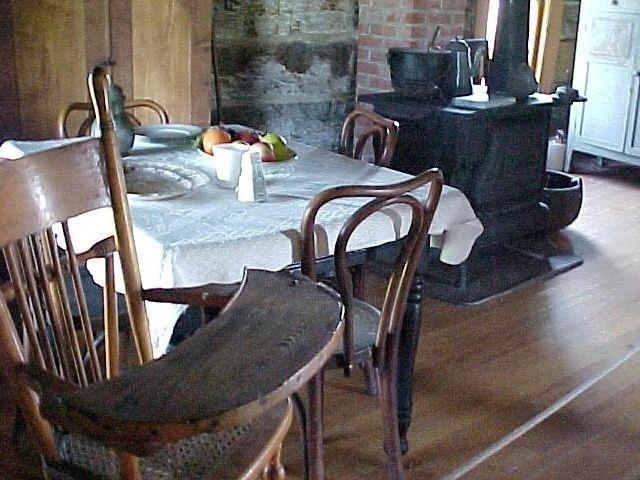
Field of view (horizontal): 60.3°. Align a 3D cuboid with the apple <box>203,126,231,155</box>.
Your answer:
[{"bbox_3d":[-0.328,-0.320,1.784,0.102,0.094,0.100,3,7,19],"label":"apple"}]

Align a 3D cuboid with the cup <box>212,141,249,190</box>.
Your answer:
[{"bbox_3d":[-0.259,-0.213,1.564,0.132,0.116,0.106,-8,19,-35],"label":"cup"}]

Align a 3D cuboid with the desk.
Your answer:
[{"bbox_3d":[0.986,-0.177,3.420,1.405,1.205,1.203,-15,24,-35],"label":"desk"}]
